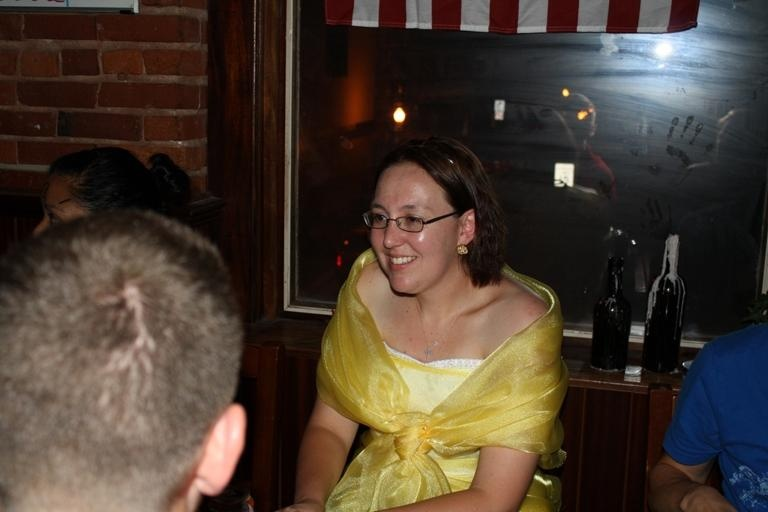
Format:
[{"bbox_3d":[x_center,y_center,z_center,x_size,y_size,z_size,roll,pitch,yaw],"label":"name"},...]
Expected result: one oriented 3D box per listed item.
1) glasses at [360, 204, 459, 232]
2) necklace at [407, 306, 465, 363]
[{"bbox_3d":[0.088,-0.100,1.903,0.249,0.070,0.066,4,9,7],"label":"glasses"},{"bbox_3d":[0.138,0.248,1.988,0.152,0.157,0.039,3,-16,32],"label":"necklace"}]
